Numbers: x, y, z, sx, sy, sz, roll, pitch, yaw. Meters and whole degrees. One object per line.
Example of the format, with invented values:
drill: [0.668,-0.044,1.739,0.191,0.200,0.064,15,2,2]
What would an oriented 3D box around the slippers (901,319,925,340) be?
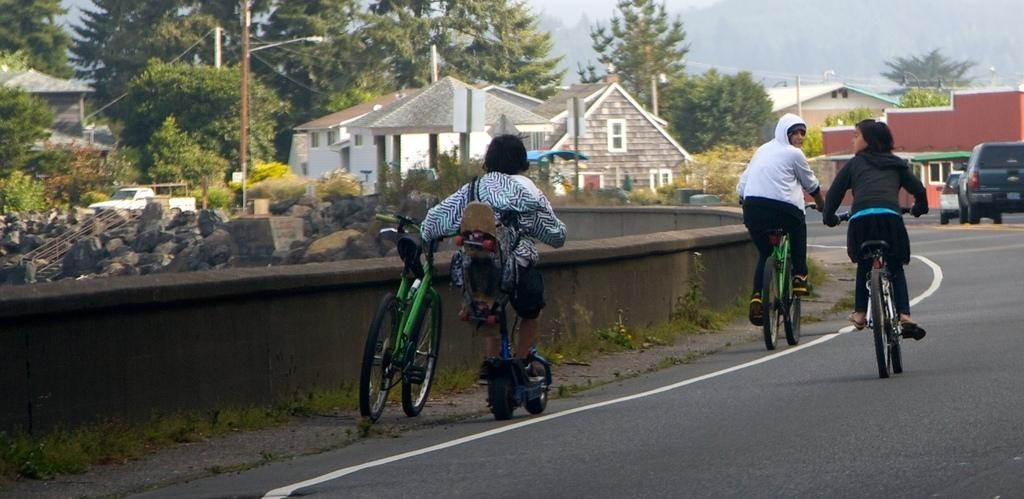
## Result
slippers: [11.880,2.420,37.846,0.892,0.361,0.365,21,-49,-30]

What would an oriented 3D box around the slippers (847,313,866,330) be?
slippers: [10.321,2.065,38.282,0.383,0.253,0.653,-6,43,-4]
